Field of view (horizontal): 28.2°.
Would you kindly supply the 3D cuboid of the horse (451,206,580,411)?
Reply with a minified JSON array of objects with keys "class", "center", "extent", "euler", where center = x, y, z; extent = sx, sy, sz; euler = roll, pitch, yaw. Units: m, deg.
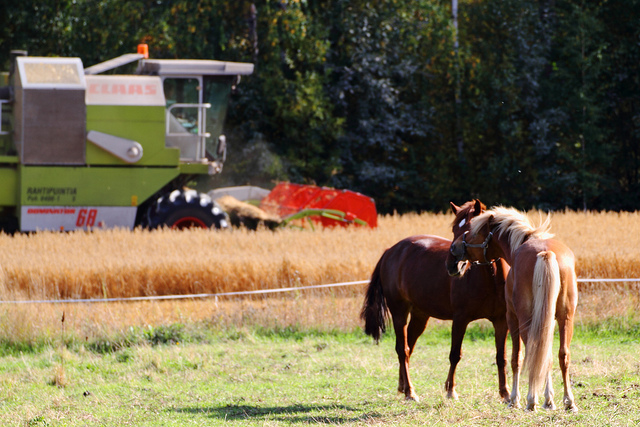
[{"class":"horse","center":[4.628,2.111,29.261],"extent":[1.502,4.671,5.695],"euler":[1,-5,-8]}]

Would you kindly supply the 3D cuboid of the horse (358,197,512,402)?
[{"class":"horse","center":[2.977,2.071,28.703],"extent":[1.588,4.533,5.625],"euler":[2,-5,-40]}]

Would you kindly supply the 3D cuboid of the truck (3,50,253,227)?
[{"class":"truck","center":[-5.747,-2.155,37.505],"extent":[6.670,4.534,3.773],"euler":[-1,6,-11]}]
